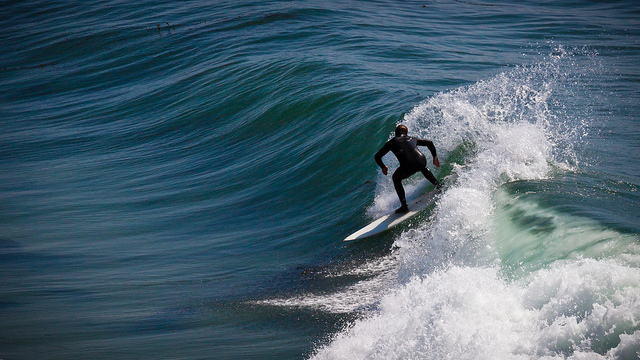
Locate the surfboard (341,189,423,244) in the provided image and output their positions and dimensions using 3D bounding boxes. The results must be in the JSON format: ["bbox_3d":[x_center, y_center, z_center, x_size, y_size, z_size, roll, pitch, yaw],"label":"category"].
[{"bbox_3d":[2.371,1.362,25.101,3.387,0.319,0.614,-27,42,7],"label":"surfboard"}]
